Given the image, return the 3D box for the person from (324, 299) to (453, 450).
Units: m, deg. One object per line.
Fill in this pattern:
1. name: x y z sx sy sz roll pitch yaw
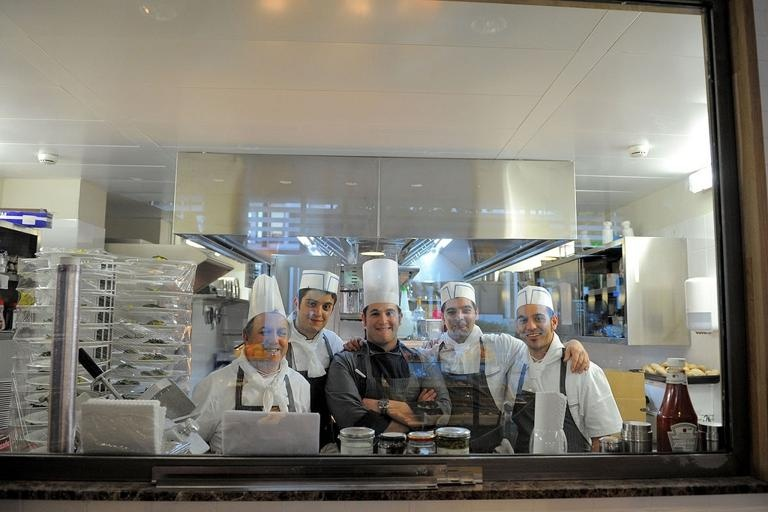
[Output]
1. person: 0.018 0.445 2.430 0.622 0.751 0.404 2 -18 -8

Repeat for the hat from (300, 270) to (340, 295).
1. hat: -0.234 0.096 2.288 0.108 0.055 0.104 10 -5 -31

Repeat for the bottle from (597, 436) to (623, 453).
1. bottle: 0.776 0.649 2.131 0.052 0.056 0.057 1 -7 6

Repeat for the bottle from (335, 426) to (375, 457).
1. bottle: -0.091 0.637 2.115 0.087 0.073 0.085 0 0 -29

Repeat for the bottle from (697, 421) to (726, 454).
1. bottle: 1.122 0.618 2.116 0.096 0.096 0.095 -1 -4 12

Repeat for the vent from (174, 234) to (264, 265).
1. vent: -0.570 -0.026 2.219 0.308 0.096 0.044 3 -7 -27

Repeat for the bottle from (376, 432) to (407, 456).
1. bottle: 0.027 0.646 2.123 0.069 0.056 0.068 -1 -4 14

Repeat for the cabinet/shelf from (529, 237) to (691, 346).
1. cabinet/shelf: 0.886 0.173 2.434 0.301 0.360 0.536 5 -10 -23

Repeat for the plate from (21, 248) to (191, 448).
1. plate: -0.953 0.320 2.106 0.566 0.662 0.078 2 -7 -13

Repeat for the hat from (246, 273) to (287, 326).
1. hat: -0.436 0.143 2.324 0.138 0.150 0.157 4 -11 -37

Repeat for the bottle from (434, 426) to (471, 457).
1. bottle: 0.234 0.637 2.116 0.089 0.052 0.086 1 -7 0

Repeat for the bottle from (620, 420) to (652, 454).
1. bottle: 0.874 0.630 2.145 0.096 0.087 0.093 -1 -6 9

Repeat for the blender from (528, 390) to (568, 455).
1. blender: 0.588 0.597 2.204 0.164 0.272 0.167 1 -7 3

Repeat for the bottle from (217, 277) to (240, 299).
1. bottle: -0.553 0.111 2.246 0.096 0.088 0.068 3 -11 -25

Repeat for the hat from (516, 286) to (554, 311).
1. hat: 0.565 0.153 2.292 0.102 0.057 0.099 4 -3 3

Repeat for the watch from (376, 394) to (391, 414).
1. watch: -0.001 0.540 2.234 0.037 0.049 0.054 5 9 8
